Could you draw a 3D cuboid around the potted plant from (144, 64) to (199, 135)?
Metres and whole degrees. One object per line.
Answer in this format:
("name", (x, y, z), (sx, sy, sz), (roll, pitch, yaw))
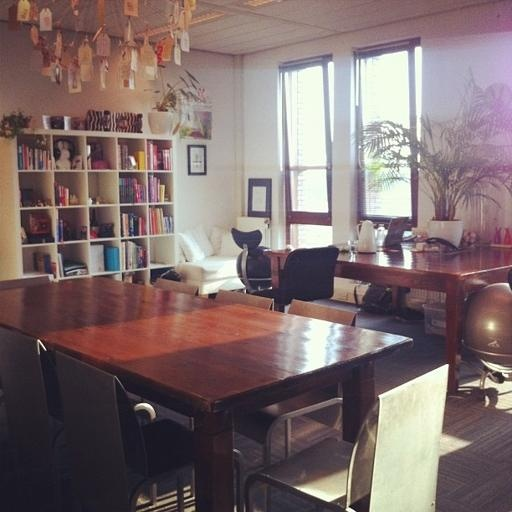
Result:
("potted plant", (-1.206, -2.217, 7.017), (0.610, 1.094, 1.307), (0, 7, 5))

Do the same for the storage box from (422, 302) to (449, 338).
("storage box", (1.940, 0.693, 5.370), (0.274, 0.227, 0.295), (-1, 1, -24))

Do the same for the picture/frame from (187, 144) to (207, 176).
("picture/frame", (-0.941, -1.502, 7.622), (0.059, 0.644, 0.463), (5, 6, 40))

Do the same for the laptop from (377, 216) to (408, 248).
("laptop", (1.493, -0.245, 5.280), (0.288, 0.283, 0.396), (20, 18, 34))

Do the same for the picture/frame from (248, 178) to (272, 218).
("picture/frame", (0.063, -0.950, 7.891), (0.615, 0.891, 0.086), (2, 2, 43))
